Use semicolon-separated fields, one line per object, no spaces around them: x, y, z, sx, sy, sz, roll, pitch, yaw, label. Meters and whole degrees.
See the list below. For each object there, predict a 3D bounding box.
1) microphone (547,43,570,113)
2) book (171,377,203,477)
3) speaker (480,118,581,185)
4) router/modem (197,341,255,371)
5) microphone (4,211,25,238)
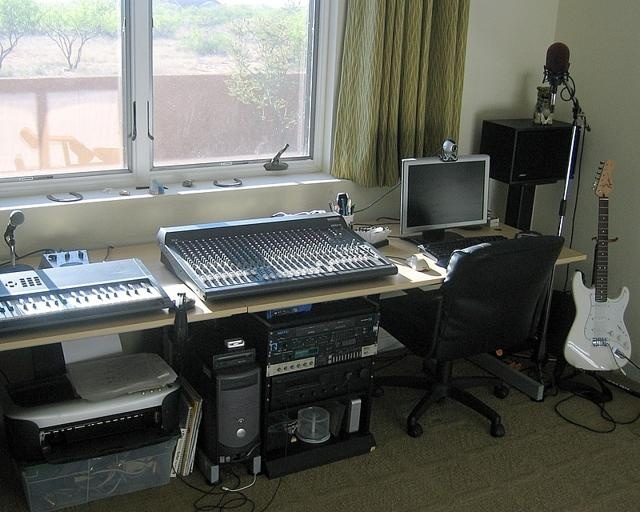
1.346;-1.063;3.145;0.127;0.272;0.233;6;22;21;microphone
-0.569;0.761;2.267;0.084;0.317;0.333;3;3;-17;book
1.243;-0.619;3.338;0.529;0.372;0.321;3;21;13;speaker
-0.392;0.422;2.311;0.233;0.076;0.179;-6;18;-27;router/modem
-1.243;-0.130;2.234;0.112;0.110;0.054;17;28;41;microphone
